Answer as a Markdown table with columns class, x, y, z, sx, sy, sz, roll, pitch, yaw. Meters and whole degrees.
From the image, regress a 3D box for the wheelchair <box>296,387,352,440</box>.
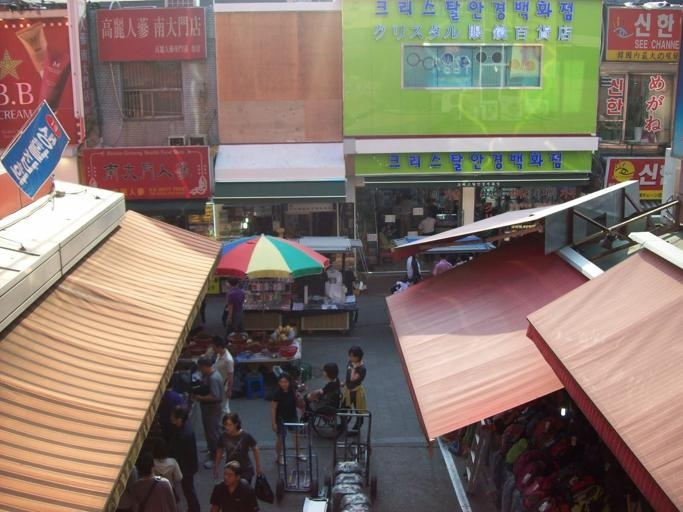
| class | x | y | z | sx | sy | sz | roll | pitch | yaw |
| --- | --- | --- | --- | --- | --- | --- | --- | --- | --- |
| wheelchair | -0.292 | 2.824 | 12.647 | 0.868 | 1.118 | 0.717 | 3 | 8 | 3 |

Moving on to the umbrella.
| class | x | y | z | sx | sy | sz | roll | pitch | yaw |
| --- | --- | --- | --- | --- | --- | --- | --- | --- | --- |
| umbrella | -1.643 | 0.135 | 16.513 | 2.355 | 0.766 | 1.324 | -5 | 21 | -10 |

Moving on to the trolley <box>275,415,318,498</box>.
| class | x | y | z | sx | sy | sz | roll | pitch | yaw |
| --- | --- | --- | --- | --- | --- | --- | --- | --- | --- |
| trolley | -1.156 | 3.377 | 12.024 | 0.861 | 1.747 | 0.998 | 0 | -8 | -1 |

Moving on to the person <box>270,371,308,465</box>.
| class | x | y | z | sx | sy | sz | roll | pitch | yaw |
| --- | --- | --- | --- | --- | --- | --- | --- | --- | --- |
| person | -0.809 | 2.625 | 11.838 | 0.640 | 1.448 | 0.594 | 2 | 11 | -15 |

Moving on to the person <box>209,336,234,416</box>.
| class | x | y | z | sx | sy | sz | roll | pitch | yaw |
| --- | --- | --- | --- | --- | --- | --- | --- | --- | --- |
| person | -2.129 | 2.138 | 13.137 | 0.457 | 1.383 | 0.356 | 0 | 12 | -20 |

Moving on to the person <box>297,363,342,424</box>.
| class | x | y | z | sx | sy | sz | roll | pitch | yaw |
| --- | --- | --- | --- | --- | --- | --- | --- | --- | --- |
| person | -0.328 | 2.373 | 12.629 | 0.938 | 1.296 | 0.651 | 6 | 7 | 17 |

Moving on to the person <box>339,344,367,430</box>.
| class | x | y | z | sx | sy | sz | roll | pitch | yaw |
| --- | --- | --- | --- | --- | --- | --- | --- | --- | --- |
| person | 0.196 | 2.214 | 12.220 | 0.474 | 1.437 | 0.374 | 14 | 16 | 30 |
